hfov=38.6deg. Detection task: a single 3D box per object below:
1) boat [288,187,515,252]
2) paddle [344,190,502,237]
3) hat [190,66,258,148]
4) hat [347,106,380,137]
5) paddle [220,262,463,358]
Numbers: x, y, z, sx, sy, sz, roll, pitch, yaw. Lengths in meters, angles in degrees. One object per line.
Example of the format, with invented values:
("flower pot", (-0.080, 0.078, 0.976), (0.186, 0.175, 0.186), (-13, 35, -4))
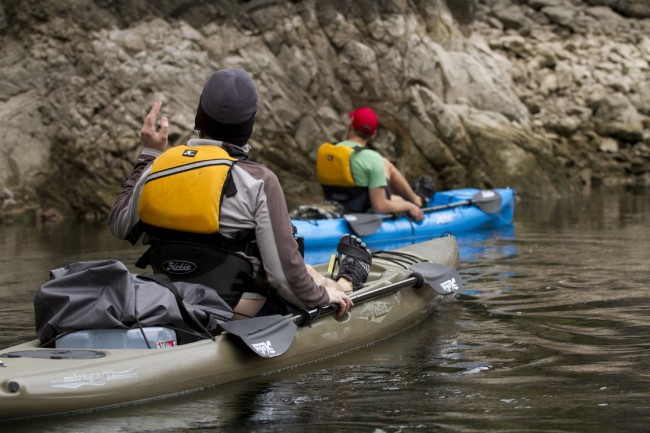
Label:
("boat", (1.470, 0.019, 14.608), (4.202, 0.606, 1.208), (-7, 10, -32))
("paddle", (1.598, -0.057, 14.433), (2.913, 0.280, 0.378), (-8, -14, -23))
("hat", (-1.013, -1.239, 9.825), (0.680, 0.699, 0.751), (14, 35, -4))
("hat", (0.570, -1.482, 13.510), (0.405, 0.263, 0.510), (4, 33, -16))
("paddle", (0.543, 0.848, 10.406), (3.914, 0.334, 0.896), (-13, 23, -42))
